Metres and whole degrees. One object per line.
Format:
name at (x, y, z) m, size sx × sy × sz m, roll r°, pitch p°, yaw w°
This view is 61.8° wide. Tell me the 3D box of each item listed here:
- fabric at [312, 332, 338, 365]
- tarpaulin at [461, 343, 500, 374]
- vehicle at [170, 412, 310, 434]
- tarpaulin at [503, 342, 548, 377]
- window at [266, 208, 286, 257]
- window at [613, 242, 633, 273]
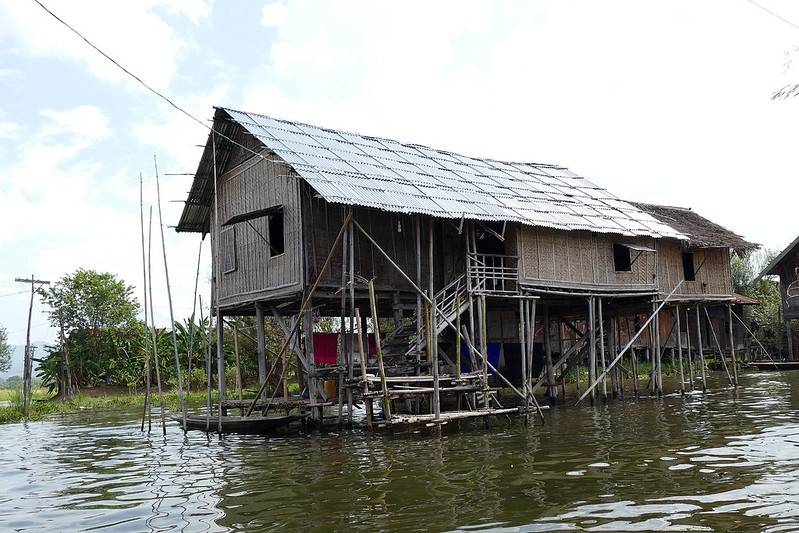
fabric at (-2.559, 2.756, 22.870) m, size 1.295 × 1.403 × 0.106 m, roll 3°, pitch -7°, yaw -31°
tarpaulin at (2.529, 2.918, 21.468) m, size 0.034 × 1.070 × 1.517 m, roll -10°, pitch -12°, yaw 44°
vehicle at (-4.835, 4.610, 19.754) m, size 3.892 × 0.742 × 1.495 m, roll -10°, pitch -15°, yaw 21°
tarpaulin at (4.590, 3.406, 24.756) m, size 2.074 × 1.498 × 0.140 m, roll 3°, pitch -8°, yaw -25°
window at (-3.856, -0.981, 20.919) m, size 0.330 × 1.486 × 0.594 m, roll -10°, pitch -14°, yaw 28°
window at (8.274, -0.356, 24.669) m, size 0.062 × 1.443 × 1.001 m, roll -6°, pitch 7°, yaw -39°
